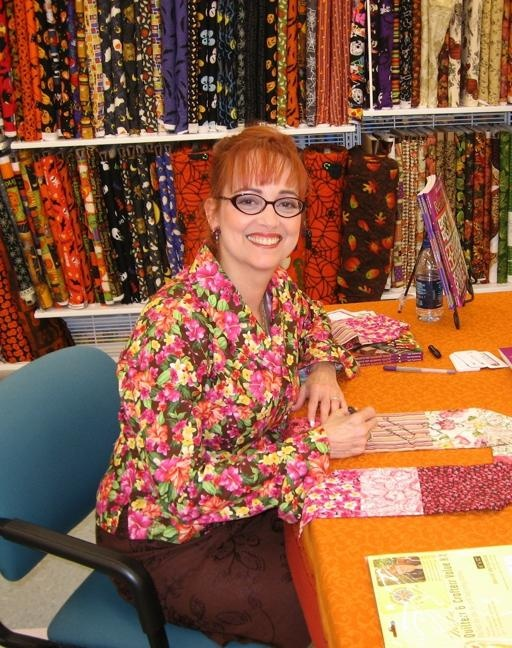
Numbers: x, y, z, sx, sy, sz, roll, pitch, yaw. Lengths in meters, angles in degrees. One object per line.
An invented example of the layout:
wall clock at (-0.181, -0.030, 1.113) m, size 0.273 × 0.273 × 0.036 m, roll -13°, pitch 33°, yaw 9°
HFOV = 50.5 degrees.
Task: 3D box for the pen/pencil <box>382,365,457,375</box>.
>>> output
pen/pencil at (0.348, 0.096, 1.144) m, size 0.109 × 0.012 × 0.014 m, roll 5°, pitch 13°, yaw 31°

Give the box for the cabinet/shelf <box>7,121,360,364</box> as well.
cabinet/shelf at (-0.676, -0.430, 2.736) m, size 1.017 × 1.210 × 0.391 m, roll -3°, pitch 2°, yaw -1°

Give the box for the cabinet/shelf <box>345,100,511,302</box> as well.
cabinet/shelf at (0.934, -0.732, 3.010) m, size 0.899 × 0.985 × 1.133 m, roll -5°, pitch 20°, yaw -7°

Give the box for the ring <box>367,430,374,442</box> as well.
ring at (0.188, 0.185, 0.896) m, size 0.007 × 0.015 × 0.013 m, roll 10°, pitch -2°, yaw 14°
